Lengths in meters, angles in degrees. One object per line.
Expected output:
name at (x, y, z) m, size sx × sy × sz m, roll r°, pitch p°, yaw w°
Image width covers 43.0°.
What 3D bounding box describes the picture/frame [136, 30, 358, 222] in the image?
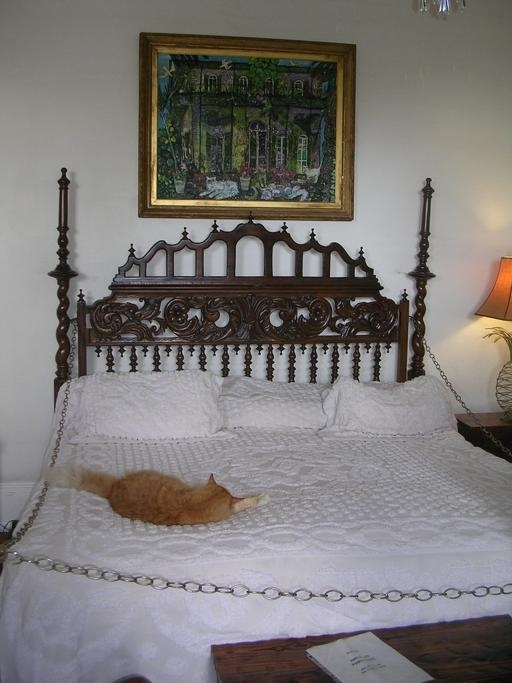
picture/frame at (-0.081, -1.068, 3.124) m, size 1.092 × 0.769 × 0.055 m, roll -1°, pitch 12°, yaw -9°
